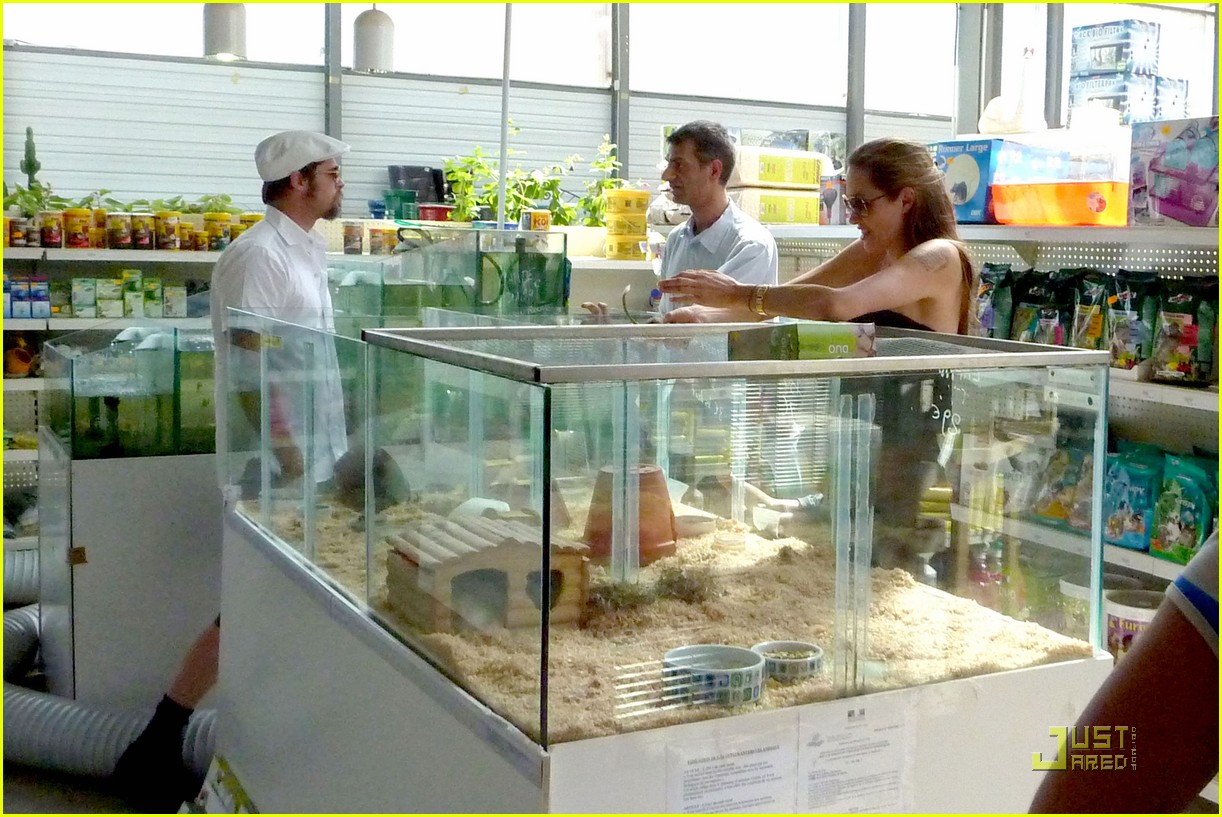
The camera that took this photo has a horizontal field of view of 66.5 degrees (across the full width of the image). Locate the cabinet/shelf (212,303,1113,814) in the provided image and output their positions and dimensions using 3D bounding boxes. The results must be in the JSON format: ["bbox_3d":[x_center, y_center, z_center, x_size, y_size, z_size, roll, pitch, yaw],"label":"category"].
[{"bbox_3d":[0.219,0.329,2.071,1.465,0.846,1.404,0,2,-29],"label":"cabinet/shelf"}]

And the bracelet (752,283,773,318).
[{"bbox_3d":[0.443,-0.322,2.763,0.052,0.080,0.081,-1,-2,3],"label":"bracelet"}]

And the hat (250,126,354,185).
[{"bbox_3d":[-1.209,-0.984,3.618,0.287,0.135,0.219,-13,21,-24],"label":"hat"}]

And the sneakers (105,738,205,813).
[{"bbox_3d":[-1.580,1.251,3.245,0.296,0.256,0.107,-13,42,17],"label":"sneakers"}]

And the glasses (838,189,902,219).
[{"bbox_3d":[0.808,-0.638,2.855,0.121,0.041,0.097,1,4,-11],"label":"glasses"}]

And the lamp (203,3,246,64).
[{"bbox_3d":[-2.139,-2.094,5.154,0.225,0.277,0.185,0,9,2],"label":"lamp"}]

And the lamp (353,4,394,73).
[{"bbox_3d":[-1.517,-2.363,5.912,0.238,0.432,0.315,-3,9,-15],"label":"lamp"}]
